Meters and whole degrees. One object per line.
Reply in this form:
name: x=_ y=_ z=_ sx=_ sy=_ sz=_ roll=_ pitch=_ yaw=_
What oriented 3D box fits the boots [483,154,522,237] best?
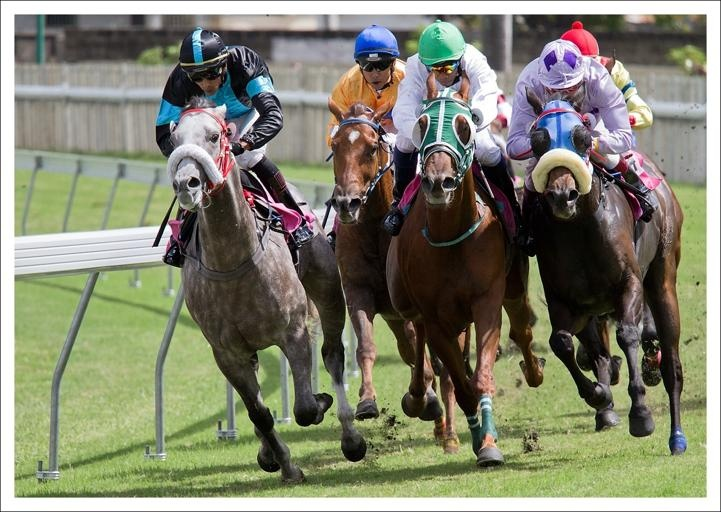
boots: x=1.181 y=-0.579 z=9.057 sx=0.213 sy=0.828 sz=0.425 roll=-11 pitch=-8 yaw=8

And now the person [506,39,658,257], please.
person: x=1.915 y=-0.896 z=9.478 sx=0.839 sy=1.321 sz=2.038 roll=-6 pitch=-19 yaw=13

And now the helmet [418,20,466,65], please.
helmet: x=0.656 y=-1.774 z=8.950 sx=0.409 sy=0.345 sz=0.564 roll=-5 pitch=20 yaw=4

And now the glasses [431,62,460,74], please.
glasses: x=0.692 y=-1.513 z=8.817 sx=0.134 sy=0.048 sz=0.153 roll=-5 pitch=40 yaw=15

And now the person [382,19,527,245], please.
person: x=0.598 y=-1.063 z=9.363 sx=0.824 sy=1.117 sz=1.810 roll=6 pitch=-16 yaw=2

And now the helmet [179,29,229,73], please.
helmet: x=-1.210 y=-1.554 z=8.823 sx=0.270 sy=0.346 sz=0.379 roll=-16 pitch=11 yaw=10

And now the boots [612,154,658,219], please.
boots: x=2.258 y=-0.559 z=9.131 sx=0.245 sy=0.506 sz=0.153 roll=9 pitch=-23 yaw=-44

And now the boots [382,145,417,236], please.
boots: x=0.332 y=-0.540 z=9.091 sx=0.225 sy=0.184 sz=0.775 roll=17 pitch=42 yaw=-4
